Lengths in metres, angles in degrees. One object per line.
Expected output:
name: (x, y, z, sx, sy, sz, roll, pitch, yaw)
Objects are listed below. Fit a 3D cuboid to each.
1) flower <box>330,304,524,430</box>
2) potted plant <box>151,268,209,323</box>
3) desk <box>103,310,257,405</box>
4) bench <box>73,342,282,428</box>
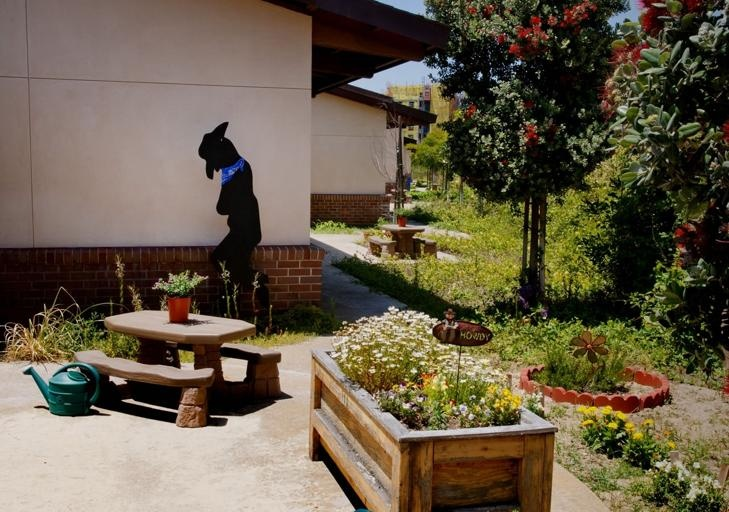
flower: (0.227, 0.849, 6.899, 1.057, 0.432, 1.044, -4, 23, -22)
potted plant: (-2.178, 0.490, 8.366, 0.368, 0.570, 0.540, 3, 5, 14)
desk: (-2.129, 1.175, 8.321, 1.428, 0.838, 0.997, 1, 6, 18)
bench: (-1.974, 1.405, 8.003, 2.064, 0.660, 1.125, -3, 15, -7)
